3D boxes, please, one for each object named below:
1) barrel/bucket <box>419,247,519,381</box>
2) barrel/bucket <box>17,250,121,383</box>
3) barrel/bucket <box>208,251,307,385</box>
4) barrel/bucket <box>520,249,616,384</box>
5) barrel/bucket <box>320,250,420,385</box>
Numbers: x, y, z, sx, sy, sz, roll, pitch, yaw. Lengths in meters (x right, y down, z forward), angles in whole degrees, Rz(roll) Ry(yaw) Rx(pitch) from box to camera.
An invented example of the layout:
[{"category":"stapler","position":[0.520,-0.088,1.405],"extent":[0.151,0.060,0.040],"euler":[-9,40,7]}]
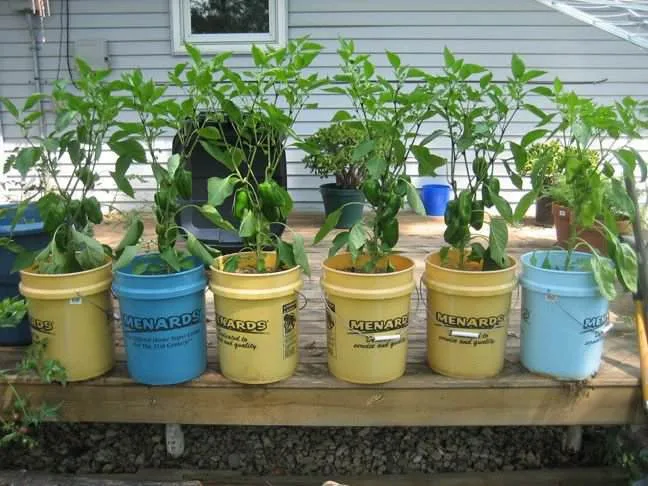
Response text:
[{"category":"barrel/bucket","position":[0.576,0.308,2.924],"extent":[0.468,0.540,0.465],"euler":[1,3,0]},{"category":"barrel/bucket","position":[-1.072,0.309,2.917],"extent":[0.483,0.540,0.462],"euler":[0,1,0]},{"category":"barrel/bucket","position":[-0.239,0.318,2.946],"extent":[0.504,0.562,0.503],"euler":[0,1,0]},{"category":"barrel/bucket","position":[1.078,0.301,3.002],"extent":[0.471,0.610,0.543],"euler":[-1,5,15]},{"category":"barrel/bucket","position":[0.236,0.319,2.972],"extent":[0.485,0.559,0.481],"euler":[0,6,0]}]
